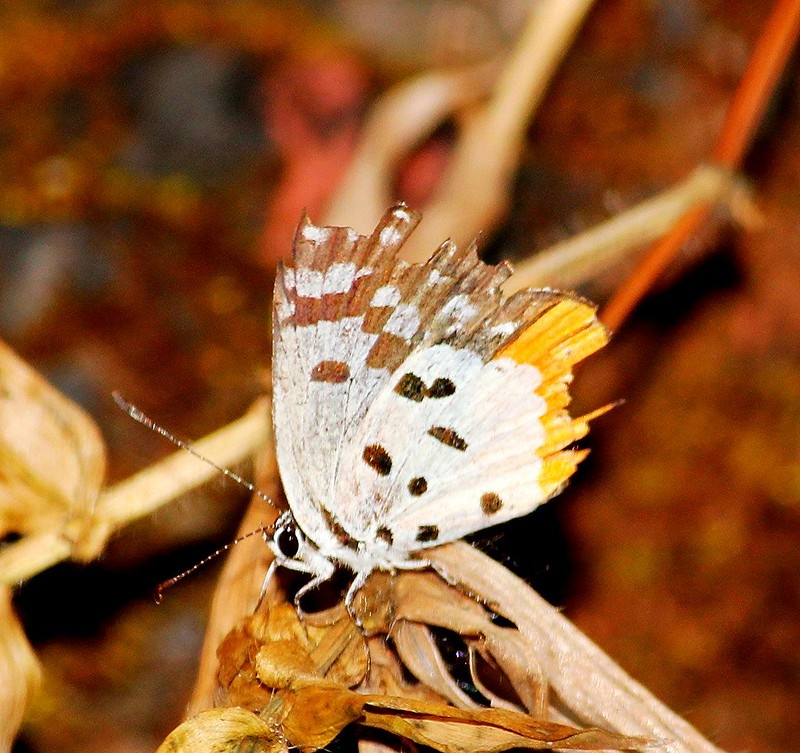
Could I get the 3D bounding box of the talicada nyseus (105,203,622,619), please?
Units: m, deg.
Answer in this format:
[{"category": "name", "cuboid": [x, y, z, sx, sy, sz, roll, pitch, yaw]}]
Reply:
[{"category": "talicada nyseus", "cuboid": [0.014, 0.076, 1.421, 0.398, 0.293, 0.434, 22, 71, 6]}]
